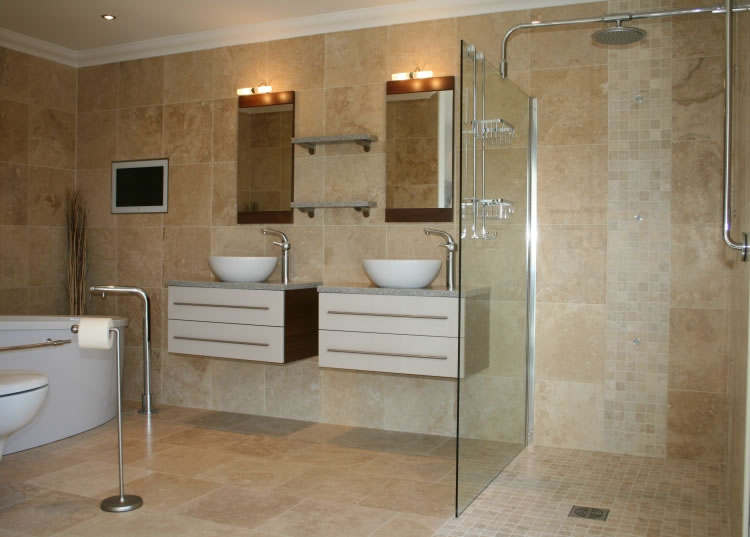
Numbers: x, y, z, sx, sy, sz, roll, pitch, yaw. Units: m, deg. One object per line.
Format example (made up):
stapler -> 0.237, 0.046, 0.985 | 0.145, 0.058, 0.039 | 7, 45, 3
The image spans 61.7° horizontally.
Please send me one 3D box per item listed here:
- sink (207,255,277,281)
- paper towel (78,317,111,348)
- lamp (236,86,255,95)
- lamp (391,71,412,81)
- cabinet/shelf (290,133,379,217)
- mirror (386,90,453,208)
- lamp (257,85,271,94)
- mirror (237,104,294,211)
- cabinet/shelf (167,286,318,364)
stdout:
sink -> -0.981, 0.004, 4.636 | 0.489, 0.191, 0.212 | -1, 7, -13
paper towel -> -1.458, 0.330, 3.248 | 0.163, 0.150, 0.090 | -1, 0, 6
lamp -> -1.026, -1.396, 4.924 | 0.117, 0.071, 0.027 | -2, 0, 14
lamp -> 0.183, -1.382, 4.532 | 0.118, 0.027, 0.068 | 0, 27, 10
cabinet/shelf -> -0.278, -0.701, 4.692 | 0.653, 0.557, 0.217 | 0, 1, 19
mirror -> 0.313, -0.850, 4.496 | 0.461, 0.807, 0.181 | 1, 7, 6
lamp -> -0.874, -1.401, 4.896 | 0.110, 0.066, 0.032 | 0, 7, 1
mirror -> -0.860, -0.855, 4.899 | 0.490, 0.814, 0.106 | 3, 7, 21
cabinet/shelf -> -1.011, 0.376, 4.746 | 1.047, 0.548, 0.564 | 1, 2, 22
